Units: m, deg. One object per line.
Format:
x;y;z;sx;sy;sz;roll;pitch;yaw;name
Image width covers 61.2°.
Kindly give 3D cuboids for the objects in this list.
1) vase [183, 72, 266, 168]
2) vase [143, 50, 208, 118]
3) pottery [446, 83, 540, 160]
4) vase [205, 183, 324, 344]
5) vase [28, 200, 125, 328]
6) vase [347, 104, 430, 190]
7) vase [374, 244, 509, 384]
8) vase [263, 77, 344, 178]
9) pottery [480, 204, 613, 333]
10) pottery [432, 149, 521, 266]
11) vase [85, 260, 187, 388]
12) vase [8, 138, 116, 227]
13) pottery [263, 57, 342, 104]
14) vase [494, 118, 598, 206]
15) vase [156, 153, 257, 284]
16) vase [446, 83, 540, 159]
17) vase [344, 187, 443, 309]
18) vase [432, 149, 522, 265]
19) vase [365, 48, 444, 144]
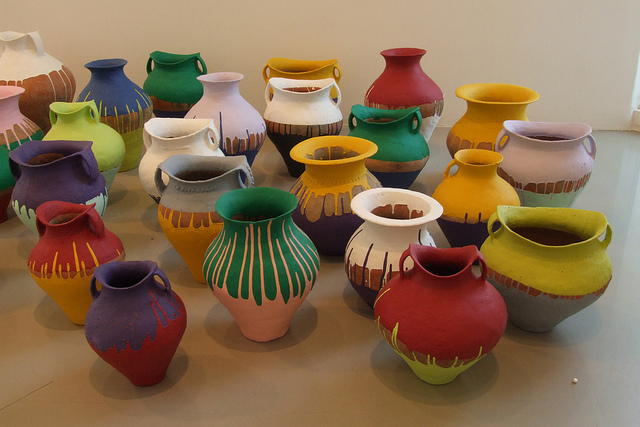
-0.706;-0.828;4.600;0.694;0.798;0.677;-4;19;-10;vase
-1.435;-1.239;5.306;0.592;0.675;0.578;8;24;3;vase
1.385;-0.796;4.364;0.652;0.714;0.634;-20;26;-26;pottery
-0.364;0.323;3.356;0.674;0.833;0.753;-6;20;-3;vase
-1.527;0.299;3.407;0.571;0.741;0.578;-3;19;-2;vase
0.544;-0.522;4.409;0.664;0.723;0.651;1;26;8;vase
0.678;0.561;3.110;0.775;0.746;0.718;2;18;0;vase
-0.165;-0.772;4.793;0.723;0.838;0.770;8;21;16;vase
1.391;0.344;3.395;0.762;0.740;0.798;3;17;6;pottery
1.096;-0.096;3.781;0.579;0.704;0.617;15;33;33;pottery
-1.039;0.618;3.104;0.574;0.711;0.587;-10;18;-10;vase
-1.743;-0.230;3.612;0.473;0.536;0.482;6;25;12;vase
-0.138;-1.193;5.154;0.689;0.515;0.590;-3;8;3;pottery
1.629;-0.474;4.070;0.699;0.692;0.645;3;26;14;vase
-0.732;-0.063;3.769;0.730;0.825;0.724;-19;31;-38;vase
1.385;-0.746;4.364;0.648;0.717;0.643;-6;25;-2;vase
0.482;0.162;3.529;0.664;0.747;0.674;8;25;17;vase
1.082;-0.092;3.777;0.556;0.686;0.585;15;34;30;vase
0.867;-1.088;4.944;0.723;0.850;0.730;4;21;18;vase
